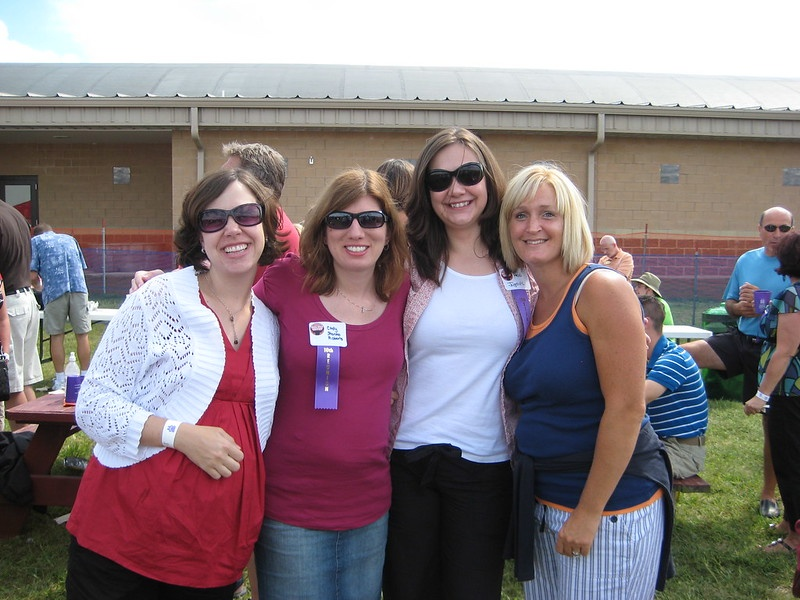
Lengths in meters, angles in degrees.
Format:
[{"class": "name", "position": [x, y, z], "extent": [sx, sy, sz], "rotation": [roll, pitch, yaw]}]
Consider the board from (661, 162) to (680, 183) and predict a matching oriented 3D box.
[{"class": "board", "position": [4.957, -2.373, 13.191], "extent": [0.345, 0.360, 0.035], "rotation": [1, 13, 6]}]

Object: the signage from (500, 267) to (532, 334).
[{"class": "signage", "position": [0.692, -0.016, 4.155], "extent": [0.220, 0.319, 0.108], "rotation": [-4, -3, -43]}]

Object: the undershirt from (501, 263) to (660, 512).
[{"class": "undershirt", "position": [0.951, 0.463, 3.875], "extent": [0.762, 1.274, 0.392], "rotation": [2, 13, 9]}]

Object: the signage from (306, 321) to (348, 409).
[{"class": "signage", "position": [-0.390, 0.360, 3.908], "extent": [0.202, 0.447, 0.182], "rotation": [-1, 13, -6]}]

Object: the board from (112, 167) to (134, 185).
[{"class": "board", "position": [-5.661, -2.554, 14.631], "extent": [0.324, 0.345, 0.043], "rotation": [1, 4, -5]}]
